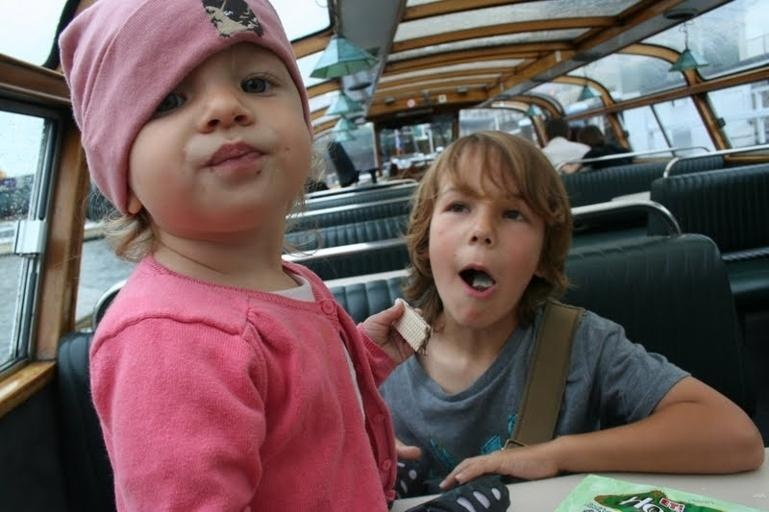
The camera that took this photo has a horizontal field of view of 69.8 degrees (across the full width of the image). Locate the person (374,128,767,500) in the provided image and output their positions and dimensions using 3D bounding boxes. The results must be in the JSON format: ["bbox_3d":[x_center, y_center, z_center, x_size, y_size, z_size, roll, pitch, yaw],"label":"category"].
[{"bbox_3d":[0.527,0.164,1.973,1.188,1.269,0.609,-7,0,4],"label":"person"}]

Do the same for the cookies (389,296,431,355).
[{"bbox_3d":[0.092,0.237,1.810,0.047,0.114,0.150,-9,44,-37],"label":"cookies"}]

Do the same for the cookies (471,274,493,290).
[{"bbox_3d":[0.342,0.090,1.927,0.071,0.047,0.046,-7,0,13],"label":"cookies"}]

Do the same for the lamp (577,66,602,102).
[{"bbox_3d":[3.607,-3.021,9.880,0.420,0.421,0.418,-10,13,44],"label":"lamp"}]

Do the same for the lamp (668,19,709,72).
[{"bbox_3d":[4.022,-2.739,7.312,0.308,0.597,0.455,-7,0,-8],"label":"lamp"}]
